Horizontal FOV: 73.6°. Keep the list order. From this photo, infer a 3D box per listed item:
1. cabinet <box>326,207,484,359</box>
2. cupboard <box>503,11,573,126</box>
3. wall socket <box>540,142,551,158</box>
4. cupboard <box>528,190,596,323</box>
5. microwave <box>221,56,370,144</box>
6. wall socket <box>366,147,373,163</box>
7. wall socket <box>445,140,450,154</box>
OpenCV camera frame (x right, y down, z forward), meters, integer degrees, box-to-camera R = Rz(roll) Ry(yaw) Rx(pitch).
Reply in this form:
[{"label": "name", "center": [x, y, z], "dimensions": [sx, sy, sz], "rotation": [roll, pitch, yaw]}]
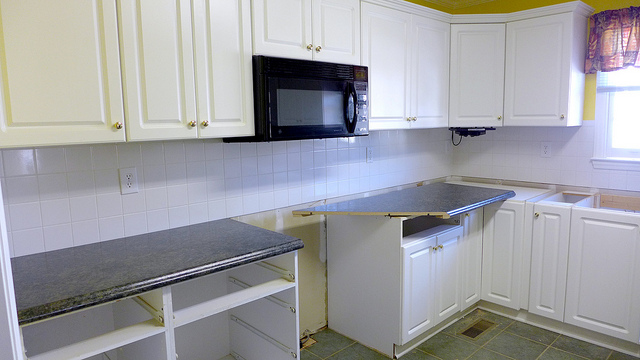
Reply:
[{"label": "cabinet", "center": [0.867, 0.736, 4.445], "dimensions": [1.301, 1.470, 1.795], "rotation": [2, 5, 41]}, {"label": "cupboard", "center": [2.204, -1.106, 4.282], "dimensions": [0.697, 1.096, 0.361], "rotation": [6, 16, 40]}, {"label": "wall socket", "center": [2.364, -0.319, 4.477], "dimensions": [0.097, 0.152, 0.036], "rotation": [3, 15, 25]}, {"label": "cupboard", "center": [2.135, 0.723, 3.956], "dimensions": [0.450, 1.008, 0.491], "rotation": [4, 1, -30]}, {"label": "microwave", "center": [-0.212, -0.683, 3.686], "dimensions": [0.709, 0.569, 1.297], "rotation": [8, 13, 41]}, {"label": "wall socket", "center": [0.496, -0.253, 4.303], "dimensions": [0.099, 0.157, 0.019], "rotation": [-14, 17, -37]}, {"label": "wall socket", "center": [1.478, -0.387, 4.973], "dimensions": [0.093, 0.163, 0.026], "rotation": [-15, 18, -41]}]
